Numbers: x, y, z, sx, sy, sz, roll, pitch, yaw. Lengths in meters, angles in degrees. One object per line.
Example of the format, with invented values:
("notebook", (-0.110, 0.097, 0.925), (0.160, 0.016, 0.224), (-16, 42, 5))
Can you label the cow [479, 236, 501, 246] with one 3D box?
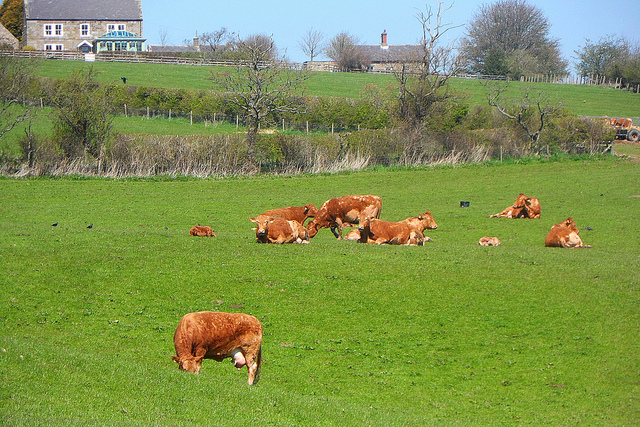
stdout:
("cow", (12.077, 2.048, 75.901), (0.915, 0.415, 0.659), (3, 0, -31))

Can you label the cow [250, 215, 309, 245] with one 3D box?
("cow", (-2.180, 1.067, 75.701), (4.455, 2.106, 1.652), (-1, 18, 29))

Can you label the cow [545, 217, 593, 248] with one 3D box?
("cow", (17.267, 1.437, 75.353), (2.672, 2.113, 1.168), (6, 9, 13))

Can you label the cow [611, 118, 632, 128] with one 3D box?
("cow", (33.061, -9.968, 117.711), (2.137, 0.953, 1.622), (10, 11, 32))

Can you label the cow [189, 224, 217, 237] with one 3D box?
("cow", (-8.291, 1.266, 76.326), (2.092, 1.235, 0.677), (3, -1, 6))

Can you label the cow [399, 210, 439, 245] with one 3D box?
("cow", (7.322, 0.736, 76.313), (3.029, 3.255, 1.562), (2, 1, 7))

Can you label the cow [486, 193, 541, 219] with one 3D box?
("cow", (15.142, -0.404, 81.240), (3.083, 1.825, 0.689), (6, 9, 12))
